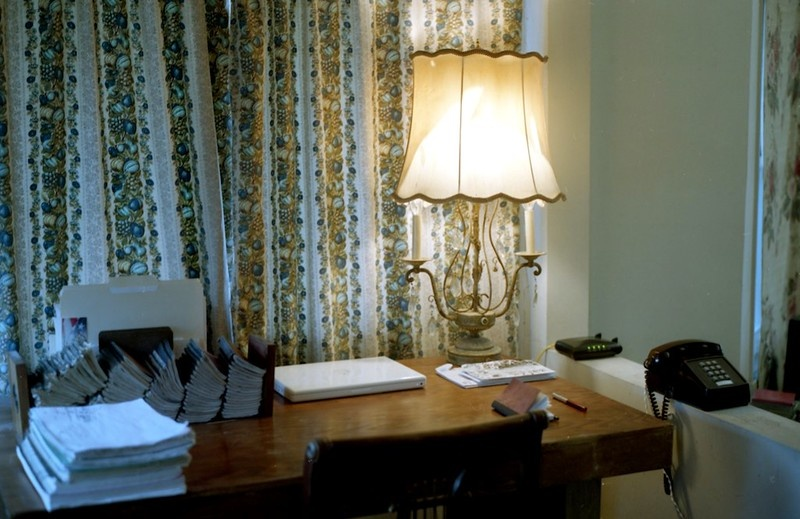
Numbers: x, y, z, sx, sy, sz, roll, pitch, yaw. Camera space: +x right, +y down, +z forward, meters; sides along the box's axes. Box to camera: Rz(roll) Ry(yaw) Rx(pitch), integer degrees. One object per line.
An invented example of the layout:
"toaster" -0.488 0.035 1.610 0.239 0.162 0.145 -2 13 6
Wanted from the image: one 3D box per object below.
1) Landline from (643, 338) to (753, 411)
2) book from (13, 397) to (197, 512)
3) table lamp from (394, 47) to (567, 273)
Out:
"Landline" 0.874 0.305 2.043 0.207 0.148 0.235 -1 0 37
"book" -0.705 0.434 1.676 0.279 0.106 0.276 3 8 -31
"table lamp" 0.287 -0.471 2.442 0.569 0.486 0.455 6 16 23
